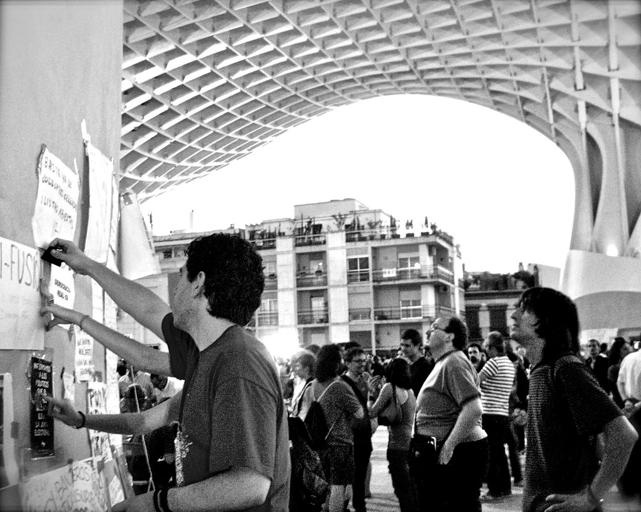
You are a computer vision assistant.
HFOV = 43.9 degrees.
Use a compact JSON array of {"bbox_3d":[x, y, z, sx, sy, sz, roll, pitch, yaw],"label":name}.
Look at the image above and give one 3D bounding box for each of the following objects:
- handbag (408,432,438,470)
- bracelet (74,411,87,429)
[{"bbox_3d":[0.701,1.299,5.363,0.043,0.199,0.188,15,-20,-40],"label":"handbag"},{"bbox_3d":[-0.915,0.620,3.047,0.023,0.060,0.051,4,-11,-39],"label":"bracelet"}]
